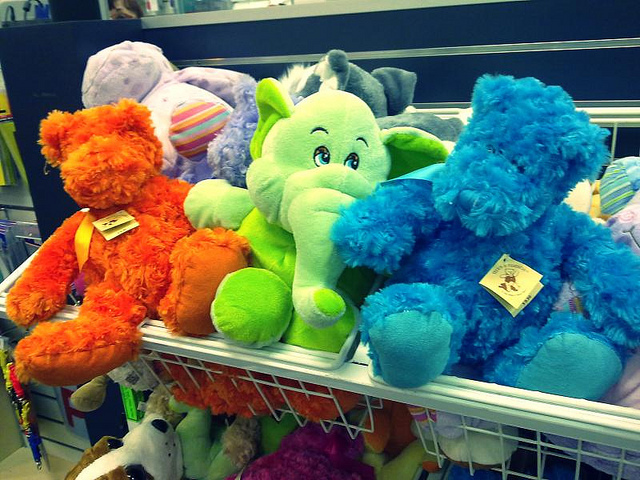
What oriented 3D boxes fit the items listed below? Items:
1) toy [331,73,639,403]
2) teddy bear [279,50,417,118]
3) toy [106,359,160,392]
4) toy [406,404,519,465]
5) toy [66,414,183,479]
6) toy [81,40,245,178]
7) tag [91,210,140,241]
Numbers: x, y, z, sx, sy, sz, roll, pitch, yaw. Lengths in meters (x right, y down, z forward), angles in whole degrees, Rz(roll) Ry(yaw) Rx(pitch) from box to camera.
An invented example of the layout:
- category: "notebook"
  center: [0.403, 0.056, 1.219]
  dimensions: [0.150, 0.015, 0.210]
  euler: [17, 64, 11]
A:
- category: "toy"
  center: [0.262, 0.011, 0.806]
  dimensions: [0.459, 0.475, 0.334]
  euler: [-9, 30, -6]
- category: "teddy bear"
  center: [0.023, -0.376, 1.232]
  dimensions: [0.248, 0.104, 0.270]
  euler: [-3, 25, -45]
- category: "toy"
  center: [-0.384, 0.282, 1.094]
  dimensions: [0.092, 0.031, 0.106]
  euler: [15, 15, 11]
- category: "toy"
  center: [0.249, 0.321, 0.882]
  dimensions: [0.164, 0.127, 0.039]
  euler: [28, 52, -13]
- category: "toy"
  center: [-0.384, 0.437, 1.052]
  dimensions: [0.141, 0.078, 0.175]
  euler: [35, 65, 2]
- category: "toy"
  center: [-0.431, -0.402, 1.409]
  dimensions: [0.298, 0.298, 0.392]
  euler: [22, 36, 36]
- category: "tag"
  center: [-0.393, -0.031, 1.007]
  dimensions: [0.073, 0.014, 0.068]
  euler: [-22, 21, -22]
